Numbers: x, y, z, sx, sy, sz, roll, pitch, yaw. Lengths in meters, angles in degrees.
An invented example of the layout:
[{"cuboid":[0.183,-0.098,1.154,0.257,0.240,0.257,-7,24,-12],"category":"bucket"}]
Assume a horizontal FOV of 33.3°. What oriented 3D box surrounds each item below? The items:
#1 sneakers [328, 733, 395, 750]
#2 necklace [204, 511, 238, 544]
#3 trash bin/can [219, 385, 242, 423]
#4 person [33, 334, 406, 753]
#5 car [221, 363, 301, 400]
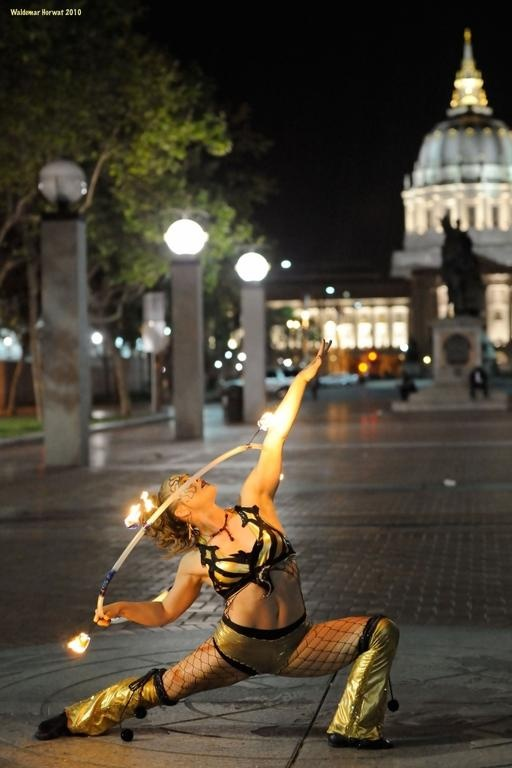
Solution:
[{"cuboid":[0.382,1.252,3.046,0.209,0.080,0.073,0,0,2],"category":"sneakers"},{"cuboid":[-0.121,0.513,3.077,0.075,0.101,0.032,-36,26,-25],"category":"necklace"},{"cuboid":[-0.867,0.806,32.495,1.311,1.724,1.617,-1,4,-3],"category":"trash bin/can"},{"cuboid":[-0.147,0.667,3.216,1.228,1.462,0.484,-8,0,1],"category":"person"},{"cuboid":[0.248,-0.036,59.895,4.893,1.633,2.119,-3,6,-4],"category":"car"}]
